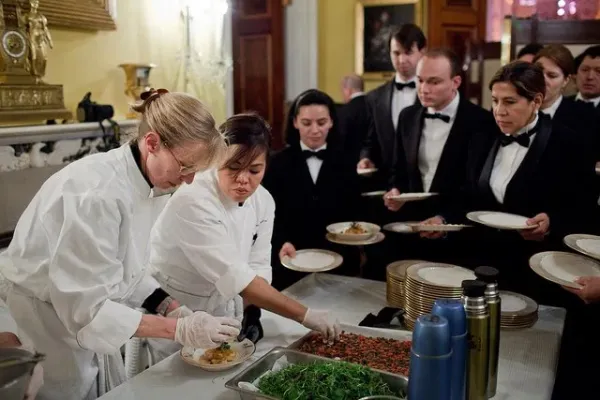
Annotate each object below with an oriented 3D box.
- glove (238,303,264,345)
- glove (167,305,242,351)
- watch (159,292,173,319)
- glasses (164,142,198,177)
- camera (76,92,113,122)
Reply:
[{"bbox_3d":[-0.278,0.717,2.657,0.106,0.050,0.184,28,33,4],"label":"glove"},{"bbox_3d":[-0.505,0.694,2.463,0.329,0.157,0.199,-2,54,-30],"label":"glove"},{"bbox_3d":[-0.788,0.635,2.738,0.038,0.100,0.075,30,-13,-11],"label":"watch"},{"bbox_3d":[-0.616,-0.192,2.398,0.048,0.160,0.124,-23,-16,8],"label":"glasses"},{"bbox_3d":[-2.201,-0.957,5.052,0.345,0.351,0.345,-7,21,-32],"label":"camera"}]
